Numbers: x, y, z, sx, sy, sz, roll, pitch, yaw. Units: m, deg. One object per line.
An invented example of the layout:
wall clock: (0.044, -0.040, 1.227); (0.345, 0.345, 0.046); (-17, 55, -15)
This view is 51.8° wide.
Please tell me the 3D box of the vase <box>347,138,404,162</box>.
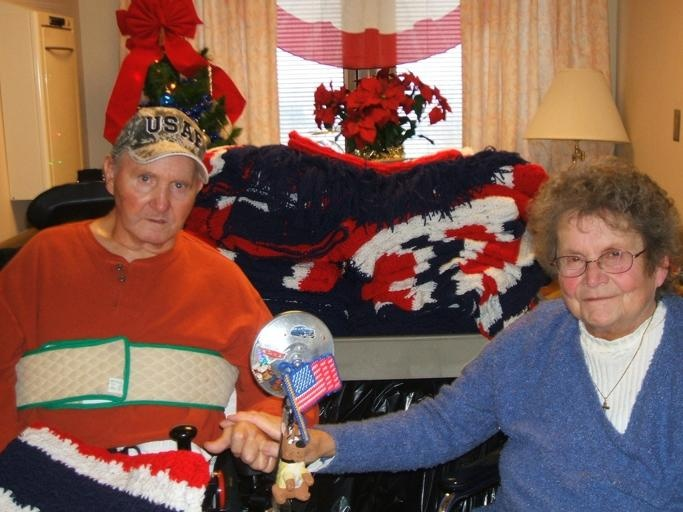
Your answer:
vase: (0.167, -0.450, 3.091); (0.200, 0.067, 0.192); (-2, 10, -15)

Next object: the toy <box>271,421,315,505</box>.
toy: (-0.104, 0.444, 1.508); (0.101, 0.208, 0.087); (-3, 12, -22)

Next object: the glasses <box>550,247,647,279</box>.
glasses: (0.638, 0.018, 1.730); (0.198, 0.081, 0.048); (6, 12, 23)

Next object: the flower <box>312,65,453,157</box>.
flower: (0.183, -0.651, 3.199); (0.510, 0.406, 0.439); (-6, 13, -35)
